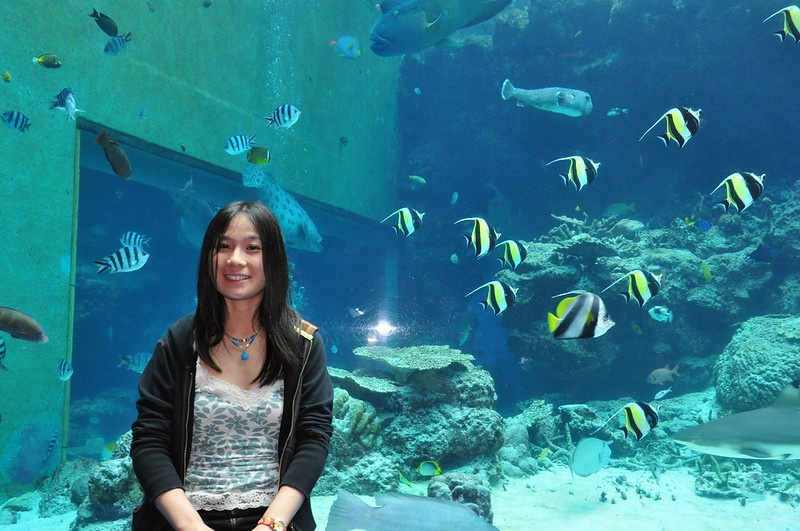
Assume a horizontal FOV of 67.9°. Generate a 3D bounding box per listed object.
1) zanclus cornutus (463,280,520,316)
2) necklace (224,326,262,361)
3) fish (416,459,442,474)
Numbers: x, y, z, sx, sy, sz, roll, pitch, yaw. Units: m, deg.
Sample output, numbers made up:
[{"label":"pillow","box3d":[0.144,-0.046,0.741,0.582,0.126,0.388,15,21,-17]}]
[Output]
[{"label":"zanclus cornutus","box3d":[1.825,0.596,11.520,0.467,0.687,0.660,4,-17,-27]},{"label":"necklace","box3d":[-2.367,1.172,8.849,0.473,0.449,0.071,-2,-4,1]},{"label":"fish","box3d":[0.602,4.203,12.363,0.613,0.403,0.204,-2,2,11]}]
